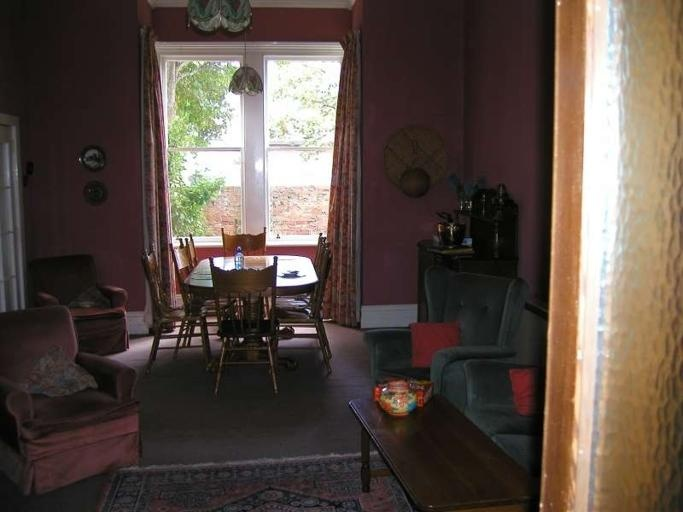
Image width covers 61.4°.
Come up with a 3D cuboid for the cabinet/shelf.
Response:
[{"bbox_3d":[0.897,0.370,5.670,0.499,0.815,0.517,-5,-2,-41],"label":"cabinet/shelf"}]

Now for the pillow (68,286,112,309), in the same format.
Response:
[{"bbox_3d":[-2.424,0.418,5.557,0.214,0.080,0.230,-2,25,-3],"label":"pillow"}]

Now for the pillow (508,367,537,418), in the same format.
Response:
[{"bbox_3d":[0.937,0.702,2.961,0.050,0.188,0.176,-2,2,25],"label":"pillow"}]

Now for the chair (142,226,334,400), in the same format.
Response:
[{"bbox_3d":[-0.865,0.437,4.995,1.587,1.064,1.782,-3,7,-21],"label":"chair"}]

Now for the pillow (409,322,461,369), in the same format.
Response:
[{"bbox_3d":[0.584,0.543,3.712,0.277,0.286,0.091,-3,-25,10],"label":"pillow"}]

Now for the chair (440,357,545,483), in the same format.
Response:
[{"bbox_3d":[0.816,0.842,2.977,0.306,0.330,0.451,3,2,-12],"label":"chair"}]

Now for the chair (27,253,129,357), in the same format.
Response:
[{"bbox_3d":[-2.509,0.496,5.487,0.847,0.963,0.690,2,6,37],"label":"chair"}]

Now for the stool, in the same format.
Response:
[{"bbox_3d":[0.481,0.883,6.202,0.605,0.797,0.403,0,4,-2],"label":"stool"}]

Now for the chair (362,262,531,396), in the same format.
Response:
[{"bbox_3d":[0.687,0.602,3.786,0.739,1.032,0.934,3,0,-32],"label":"chair"}]
